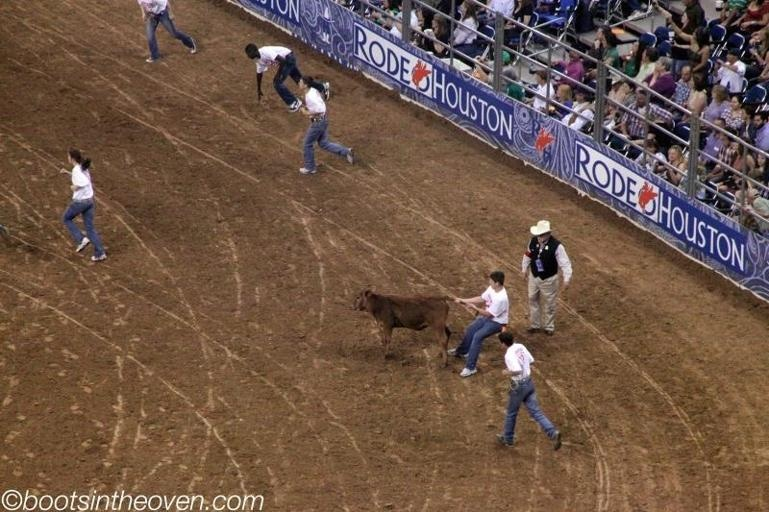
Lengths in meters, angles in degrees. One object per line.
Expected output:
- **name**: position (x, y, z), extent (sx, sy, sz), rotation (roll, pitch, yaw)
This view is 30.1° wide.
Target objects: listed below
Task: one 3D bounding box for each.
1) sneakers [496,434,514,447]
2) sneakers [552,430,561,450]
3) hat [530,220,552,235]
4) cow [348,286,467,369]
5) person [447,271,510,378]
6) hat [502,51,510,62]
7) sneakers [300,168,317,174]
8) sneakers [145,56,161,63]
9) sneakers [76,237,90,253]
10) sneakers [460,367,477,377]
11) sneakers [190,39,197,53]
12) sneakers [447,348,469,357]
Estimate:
- **sneakers**: position (2.695, 4.133, 32.050), extent (0.402, 0.159, 0.186), rotation (27, 60, 17)
- **sneakers**: position (3.845, 4.062, 31.756), extent (0.226, 0.407, 0.170), rotation (6, 32, 18)
- **hat**: position (3.769, -0.643, 33.747), extent (0.442, 0.187, 0.489), rotation (15, 31, 26)
- **cow**: position (-0.022, 1.554, 32.908), extent (3.468, 1.997, 1.057), rotation (5, 22, 12)
- **person**: position (2.226, 1.711, 33.648), extent (1.536, 2.355, 1.103), rotation (-8, 46, -12)
- **hat**: position (3.396, -5.502, 39.766), extent (0.263, 0.102, 0.312), rotation (5, 42, 5)
- **sneakers**: position (-2.011, -2.278, 38.429), extent (0.395, 0.150, 0.154), rotation (3, 33, -3)
- **sneakers**: position (-6.779, -5.775, 42.403), extent (0.486, 0.185, 0.140), rotation (2, 70, 0)
- **sneakers**: position (-7.432, -0.290, 35.663), extent (0.227, 0.509, 0.172), rotation (-29, 77, -40)
- **sneakers**: position (1.986, 2.677, 33.353), extent (0.386, 0.167, 0.157), rotation (-16, 42, -17)
- **sneakers**: position (-5.632, -6.235, 42.884), extent (0.145, 0.369, 0.171), rotation (1, -6, 6)
- **sneakers**: position (1.765, 2.275, 33.897), extent (0.509, 0.189, 0.169), rotation (8, 20, 7)
